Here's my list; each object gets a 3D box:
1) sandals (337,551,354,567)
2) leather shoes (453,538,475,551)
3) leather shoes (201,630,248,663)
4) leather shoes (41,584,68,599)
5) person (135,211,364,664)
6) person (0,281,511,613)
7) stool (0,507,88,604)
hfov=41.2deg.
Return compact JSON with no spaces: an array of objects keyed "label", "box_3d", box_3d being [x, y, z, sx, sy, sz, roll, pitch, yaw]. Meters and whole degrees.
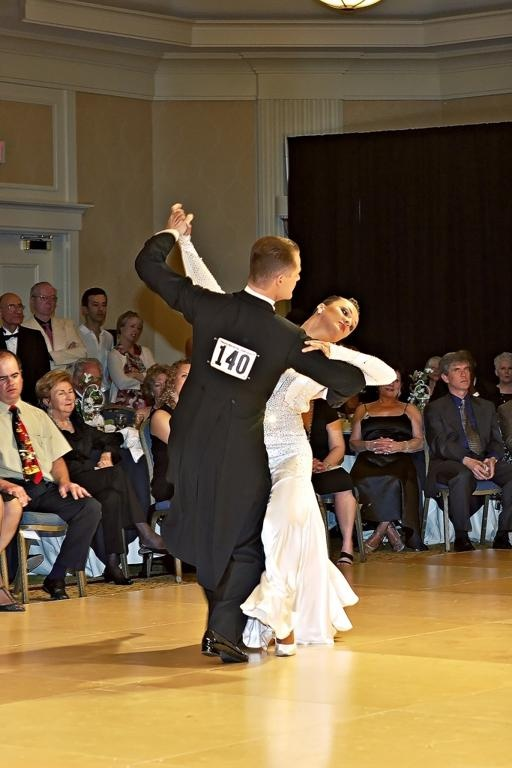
[{"label":"sandals","box_3d":[0.628,1.226,4.746,0.151,0.078,0.300,-1,-3,5]},{"label":"leather shoes","box_3d":[1.635,1.267,5.325,0.076,0.091,0.223,-1,-16,-7]},{"label":"leather shoes","box_3d":[-0.102,0.868,2.259,0.200,0.079,0.077,30,-50,-31]},{"label":"leather shoes","box_3d":[-1.161,1.191,3.904,0.081,0.082,0.216,1,-1,-38]},{"label":"person","box_3d":[-0.038,0.146,2.287,0.735,1.551,0.308,-2,-3,31]},{"label":"person","box_3d":[0.075,0.276,2.496,0.756,1.437,0.518,-2,17,29]},{"label":"stool","box_3d":[-1.316,0.993,3.993,0.618,0.662,0.542,2,-14,-12]}]
